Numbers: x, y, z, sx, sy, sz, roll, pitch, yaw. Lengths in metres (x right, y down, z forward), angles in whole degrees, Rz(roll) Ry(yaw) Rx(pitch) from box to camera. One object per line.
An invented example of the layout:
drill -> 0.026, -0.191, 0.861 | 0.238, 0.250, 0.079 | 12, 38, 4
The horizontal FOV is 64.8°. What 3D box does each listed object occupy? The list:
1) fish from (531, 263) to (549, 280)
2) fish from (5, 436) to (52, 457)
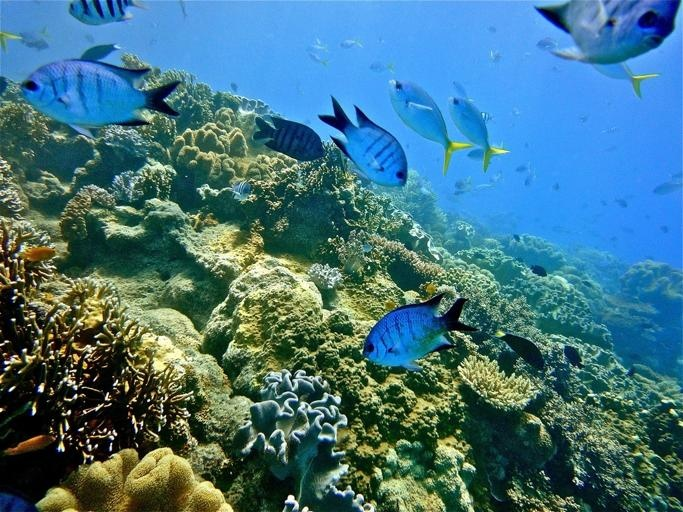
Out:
fish -> 6.441, 0.508, 17.539 | 0.657, 0.372, 0.154 | 30, 9, 1
fish -> -4.238, 2.550, 7.239 | 0.566, 0.127, 0.157 | -16, 21, -11
